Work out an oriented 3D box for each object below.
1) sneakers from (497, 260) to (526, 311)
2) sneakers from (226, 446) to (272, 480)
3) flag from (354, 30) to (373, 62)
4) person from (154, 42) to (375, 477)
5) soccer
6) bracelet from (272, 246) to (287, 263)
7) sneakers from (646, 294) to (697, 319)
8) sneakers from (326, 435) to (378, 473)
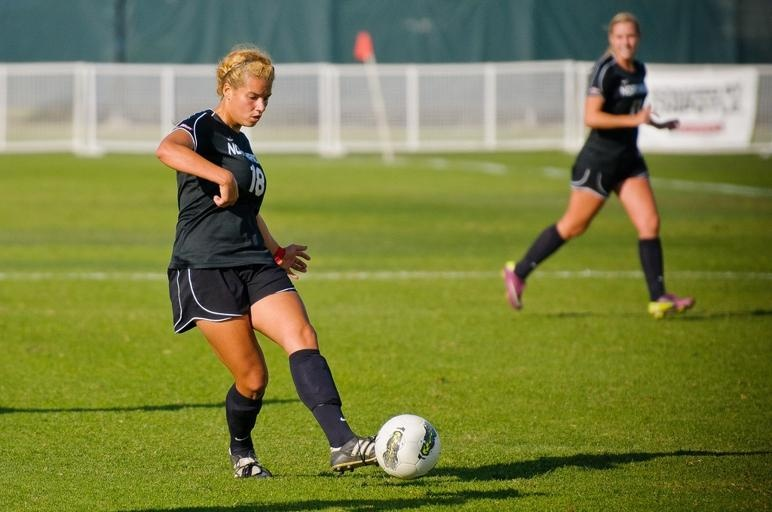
[{"bbox_3d":[1.294,0.267,13.642,0.250,0.484,0.183,-6,9,22],"label":"sneakers"},{"bbox_3d":[-1.129,1.691,11.037,0.173,0.134,0.328,-4,7,-38],"label":"sneakers"},{"bbox_3d":[-0.240,-2.250,14.301,0.197,0.325,0.143,4,12,4],"label":"flag"},{"bbox_3d":[-1.070,0.073,10.796,1.492,3.454,0.940,0,10,9],"label":"person"},{"bbox_3d":[0.132,1.431,10.591,0.520,0.502,0.467,11,-3,31],"label":"soccer"},{"bbox_3d":[-0.906,-0.019,11.292,0.098,0.094,0.123,-5,8,-27],"label":"bracelet"},{"bbox_3d":[2.709,0.440,12.774,0.481,0.222,0.184,-16,0,20],"label":"sneakers"},{"bbox_3d":[-0.259,1.518,10.467,0.366,0.282,0.181,-2,9,-2],"label":"sneakers"}]
